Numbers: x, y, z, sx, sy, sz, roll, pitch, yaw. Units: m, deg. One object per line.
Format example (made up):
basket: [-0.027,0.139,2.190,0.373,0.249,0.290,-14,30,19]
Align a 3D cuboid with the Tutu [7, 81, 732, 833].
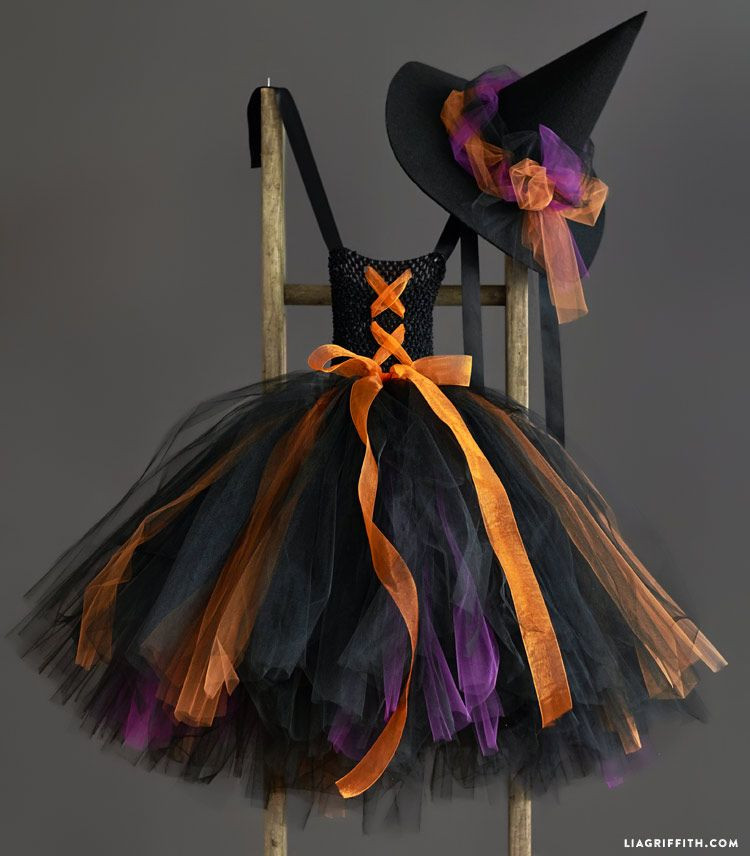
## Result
Tutu: [0.023,-0.026,2.142,1.105,1.173,0.690,1,-1,-12]
